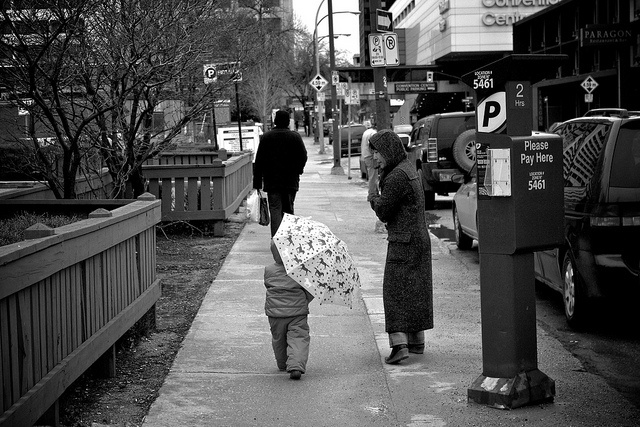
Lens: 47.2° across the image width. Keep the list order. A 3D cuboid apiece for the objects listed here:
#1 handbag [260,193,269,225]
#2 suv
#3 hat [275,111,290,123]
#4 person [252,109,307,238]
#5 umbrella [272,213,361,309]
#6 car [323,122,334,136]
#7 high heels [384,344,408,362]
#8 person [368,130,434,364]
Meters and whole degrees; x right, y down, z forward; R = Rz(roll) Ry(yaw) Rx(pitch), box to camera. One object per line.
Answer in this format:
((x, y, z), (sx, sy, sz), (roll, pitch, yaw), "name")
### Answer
((-0.919, -0.059, 12.079), (0.180, 0.634, 0.432), (-1, 6, -3), "handbag")
((2.926, -1.256, 16.267), (1.445, 1.568, 2.783), (-2, 7, -5), "suv")
((-0.626, -1.560, 11.841), (0.162, 0.230, 0.225), (3, 16, -2), "hat")
((-0.652, -0.546, 11.870), (0.844, 1.648, 0.421), (-1, 8, -6), "person")
((-0.016, 0.422, 6.976), (0.391, 0.874, 0.799), (-29, -13, 33), "umbrella")
((0.687, -8.322, 70.662), (1.545, 0.866, 2.224), (0, 1, -2), "car")
((0.770, 1.414, 7.414), (0.233, 0.199, 0.135), (1, 8, 6), "high heels")
((0.831, 0.323, 7.495), (0.511, 2.317, 0.536), (-4, 9, -26), "person")
